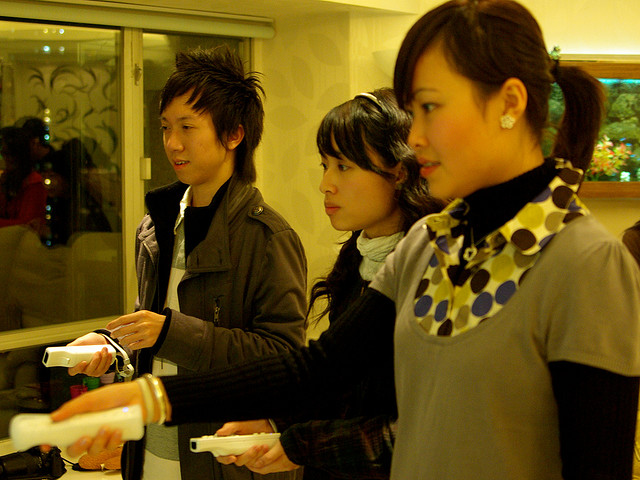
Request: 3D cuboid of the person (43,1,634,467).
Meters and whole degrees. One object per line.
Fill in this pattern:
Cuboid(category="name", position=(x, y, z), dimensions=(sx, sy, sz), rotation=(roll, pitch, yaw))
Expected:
Cuboid(category="person", position=(0.153, 0.002, 0.948), dimensions=(0.702, 0.766, 0.346), rotation=(6, 10, 22))

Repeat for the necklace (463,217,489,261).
Cuboid(category="necklace", position=(0.255, -0.001, 0.906), dimensions=(0.006, 0.026, 0.068), rotation=(-15, -17, -33))

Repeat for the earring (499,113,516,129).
Cuboid(category="earring", position=(0.288, -0.182, 0.856), dimensions=(0.021, 0.021, 0.006), rotation=(-6, 10, 10))

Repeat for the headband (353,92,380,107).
Cuboid(category="headband", position=(0.128, -0.374, 1.501), dimensions=(0.074, 0.017, 0.075), rotation=(28, 15, 28))

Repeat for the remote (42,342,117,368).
Cuboid(category="remote", position=(-0.717, 0.355, 1.664), dimensions=(0.188, 0.056, 0.095), rotation=(-3, 9, -37))
